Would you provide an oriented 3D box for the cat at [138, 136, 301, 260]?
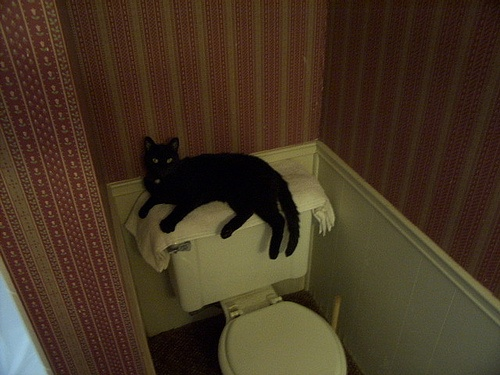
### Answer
[{"bbox_3d":[-0.132,0.028,1.619,0.682,0.490,0.352,-2,35,3],"label":"cat"}]

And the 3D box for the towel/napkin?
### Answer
[{"bbox_3d":[-0.082,0.080,1.630,0.725,0.209,0.483,-21,46,3],"label":"towel/napkin"}]
